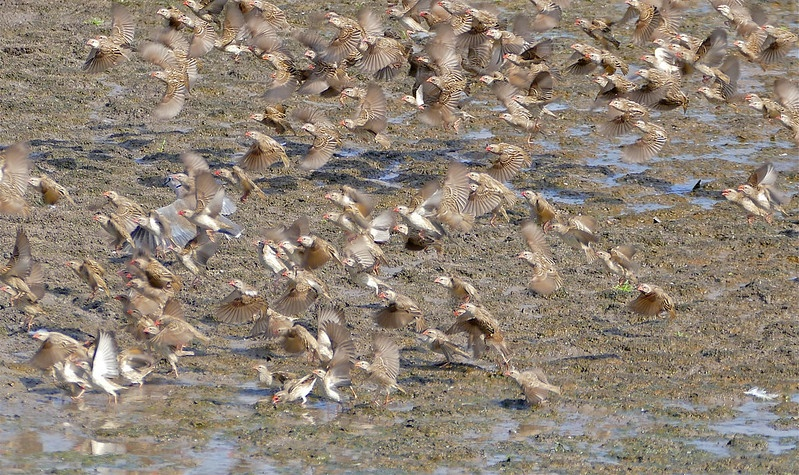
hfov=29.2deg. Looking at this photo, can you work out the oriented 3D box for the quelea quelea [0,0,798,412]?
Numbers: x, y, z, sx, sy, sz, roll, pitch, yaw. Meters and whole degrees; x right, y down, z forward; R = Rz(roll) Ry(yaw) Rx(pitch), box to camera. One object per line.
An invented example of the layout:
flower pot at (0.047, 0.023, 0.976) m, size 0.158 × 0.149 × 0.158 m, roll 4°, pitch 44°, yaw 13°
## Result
quelea quelea at (0.119, -1.908, 36.321) m, size 19.965 × 5.684 × 15.249 m, roll 0°, pitch 23°, yaw -1°
